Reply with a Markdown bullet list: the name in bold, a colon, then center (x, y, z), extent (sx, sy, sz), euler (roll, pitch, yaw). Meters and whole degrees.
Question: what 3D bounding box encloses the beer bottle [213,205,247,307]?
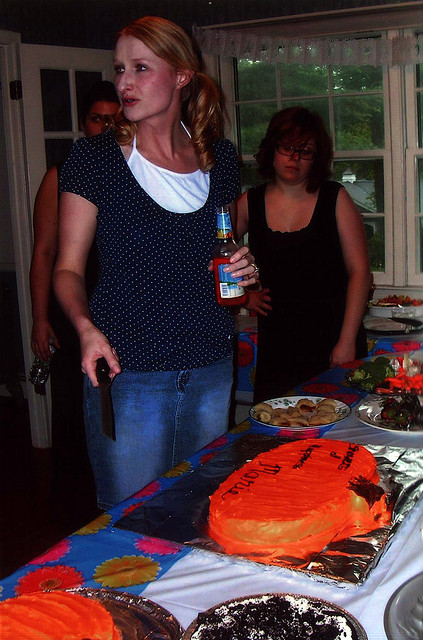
- **beer bottle**: center (0.027, -0.115, 1.014), extent (0.056, 0.192, 0.055), euler (-2, 2, 0)
